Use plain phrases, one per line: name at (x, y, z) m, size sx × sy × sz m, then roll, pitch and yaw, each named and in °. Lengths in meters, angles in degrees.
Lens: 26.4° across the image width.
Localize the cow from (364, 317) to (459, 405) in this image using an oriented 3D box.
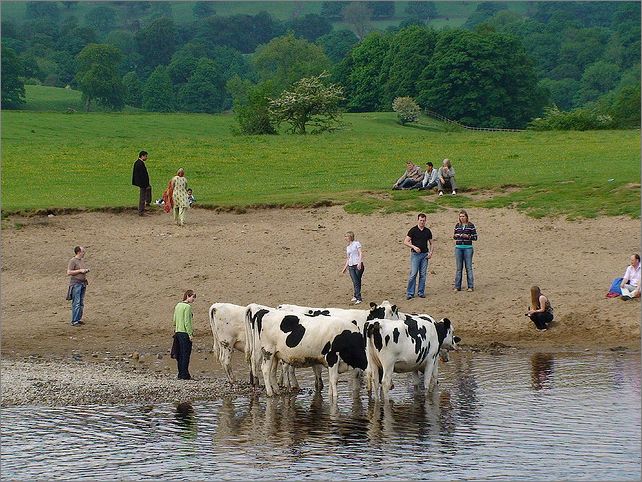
cow at (6.559, 8.366, 98.901) m, size 8.511 × 5.703 × 3.257 m, roll -5°, pitch 5°, yaw -41°

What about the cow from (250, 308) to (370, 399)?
cow at (-2.336, 7.057, 100.363) m, size 11.624 × 6.212 × 3.481 m, roll 1°, pitch 1°, yaw 6°

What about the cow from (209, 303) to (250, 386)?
cow at (-4.866, 6.462, 98.725) m, size 7.041 × 4.533 × 1.871 m, roll 1°, pitch 4°, yaw 7°
